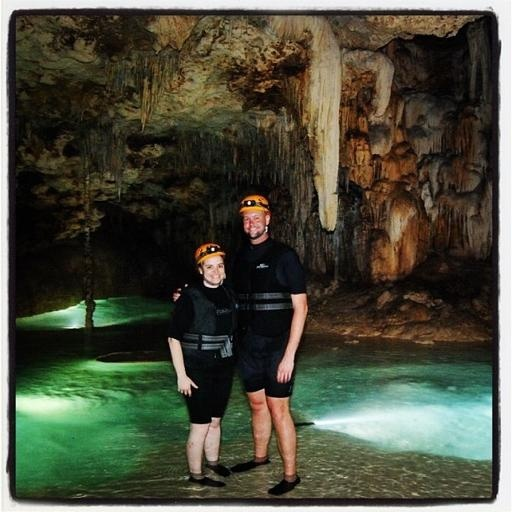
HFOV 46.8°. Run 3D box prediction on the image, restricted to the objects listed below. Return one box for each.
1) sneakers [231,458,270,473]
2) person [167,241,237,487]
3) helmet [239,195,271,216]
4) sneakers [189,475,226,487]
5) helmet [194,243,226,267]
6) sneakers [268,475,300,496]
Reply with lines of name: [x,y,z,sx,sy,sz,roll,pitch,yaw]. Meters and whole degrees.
sneakers: [-0.052,1.791,5.036,0.299,0.099,0.093,5,9,-25]
person: [-0.435,0.862,4.783,0.512,1.912,0.550,1,2,-2]
helmet: [0.007,-0.416,4.931,0.229,0.103,0.164,6,-7,-42]
sneakers: [-0.393,1.795,4.670,0.295,0.097,0.084,-2,-1,9]
helmet: [-0.410,-0.024,4.833,0.179,0.111,0.232,-8,-18,-24]
sneakers: [0.207,1.787,4.594,0.170,0.050,0.324,2,2,28]
